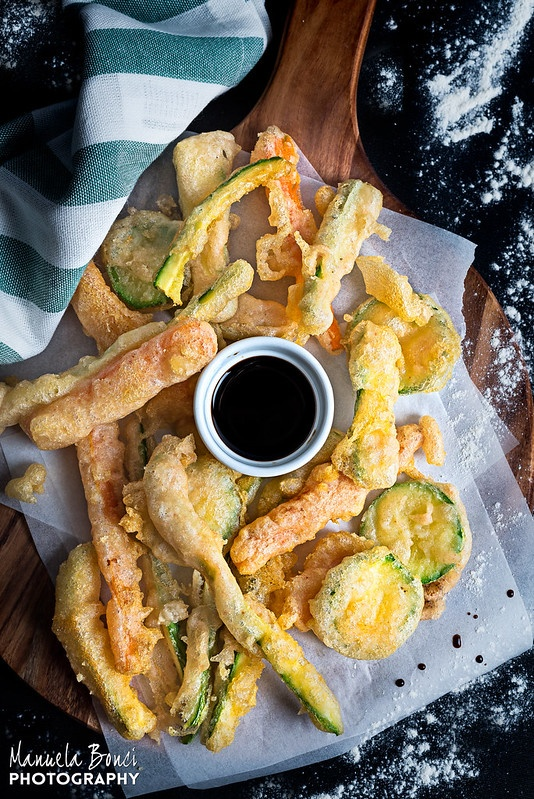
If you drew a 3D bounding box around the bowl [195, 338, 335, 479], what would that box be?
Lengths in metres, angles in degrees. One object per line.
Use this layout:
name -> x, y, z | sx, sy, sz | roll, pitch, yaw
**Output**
bowl -> -0.005, 0.018, 2.185 | 0.406, 0.165, 0.392 | 0, 94, -2
